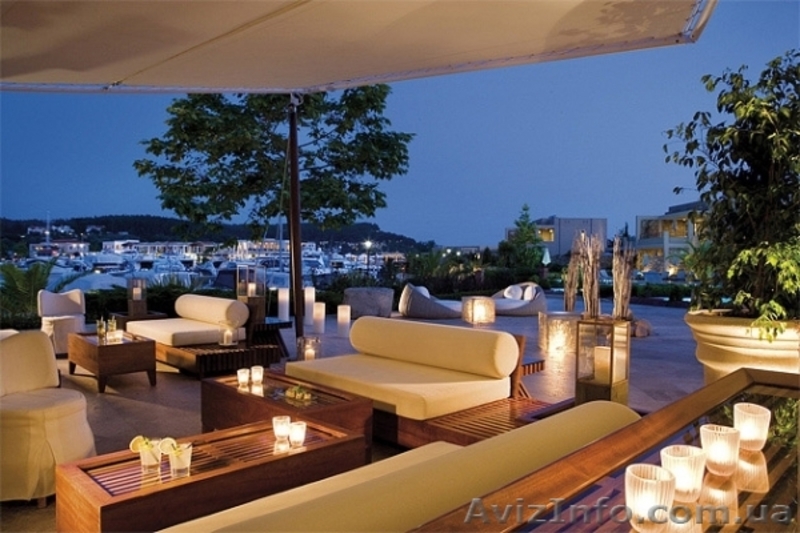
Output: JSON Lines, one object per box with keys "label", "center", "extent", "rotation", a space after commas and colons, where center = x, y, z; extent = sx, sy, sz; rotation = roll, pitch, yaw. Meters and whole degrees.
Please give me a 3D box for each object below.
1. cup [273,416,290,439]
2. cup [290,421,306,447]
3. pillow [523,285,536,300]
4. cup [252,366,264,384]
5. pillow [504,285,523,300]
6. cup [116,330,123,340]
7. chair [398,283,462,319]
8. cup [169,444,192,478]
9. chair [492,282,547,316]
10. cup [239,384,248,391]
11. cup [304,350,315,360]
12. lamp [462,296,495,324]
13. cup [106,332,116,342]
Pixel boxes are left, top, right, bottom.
{"label": "cup", "center": [-0.748, 1.019, 3.533], "extent": [0.138, 0.161, 0.134], "rotation": [0, 1, 0]}
{"label": "cup", "center": [-0.645, 1.052, 3.427], "extent": [0.131, 0.146, 0.130], "rotation": [0, -5, 0]}
{"label": "pillow", "center": [2.957, 0.600, 12.505], "extent": [0.156, 0.284, 0.304], "rotation": [33, -22, -31]}
{"label": "cup", "center": [-1.188, 0.912, 4.596], "extent": [0.137, 0.151, 0.135], "rotation": [0, -4, 0]}
{"label": "pillow", "center": [2.641, 0.610, 12.714], "extent": [0.354, 0.176, 0.344], "rotation": [-18, 5, -40]}
{"label": "cup", "center": [-3.263, 0.804, 6.329], "extent": [0.090, 0.106, 0.096], "rotation": [-1, -6, 0]}
{"label": "chair", "center": [0.795, 0.842, 12.377], "extent": [1.579, 0.727, 1.625], "rotation": [6, 0, 1]}
{"label": "cup", "center": [-1.227, 1.087, 3.051], "extent": [0.157, 0.173, 0.152], "rotation": [0, -9, 0]}
{"label": "chair", "center": [2.640, 0.790, 12.614], "extent": [1.199, 0.648, 1.174], "rotation": [-5, 5, -29]}
{"label": "cup", "center": [-1.289, 0.996, 4.491], "extent": [0.049, 0.046, 0.048], "rotation": [1, -5, 0]}
{"label": "cup", "center": [-0.899, 0.879, 5.422], "extent": [0.100, 0.109, 0.098], "rotation": [0, -4, 0]}
{"label": "lamp", "center": [1.618, 0.884, 11.246], "extent": [0.556, 0.538, 0.562], "rotation": [0, 1, -2]}
{"label": "cup", "center": [-3.305, 0.815, 6.252], "extent": [0.097, 0.131, 0.118], "rotation": [1, -5, -27]}
